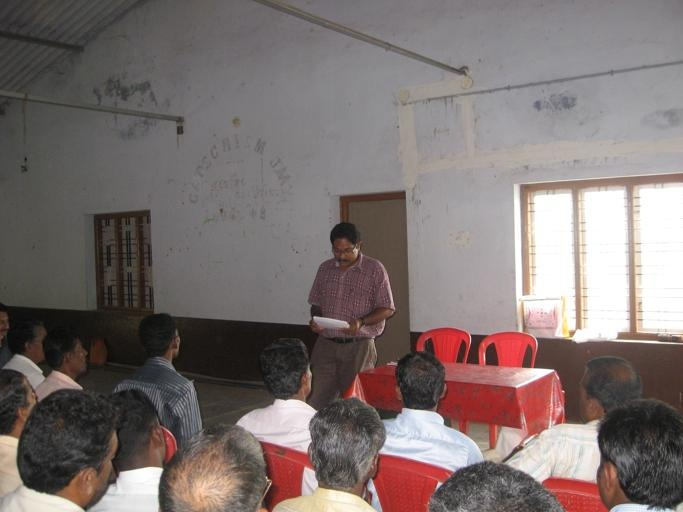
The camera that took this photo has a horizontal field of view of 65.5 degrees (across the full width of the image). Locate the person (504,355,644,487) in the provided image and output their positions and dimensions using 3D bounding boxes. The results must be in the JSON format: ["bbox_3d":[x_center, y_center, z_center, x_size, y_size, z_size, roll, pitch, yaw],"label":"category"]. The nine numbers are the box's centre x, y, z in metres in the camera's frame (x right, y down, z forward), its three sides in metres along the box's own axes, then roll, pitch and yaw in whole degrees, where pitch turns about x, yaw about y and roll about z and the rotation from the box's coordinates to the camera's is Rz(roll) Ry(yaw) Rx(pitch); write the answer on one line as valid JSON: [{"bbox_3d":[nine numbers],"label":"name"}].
[{"bbox_3d":[1.081,0.768,2.528,0.575,0.421,1.240,-15,-24,6],"label":"person"}]

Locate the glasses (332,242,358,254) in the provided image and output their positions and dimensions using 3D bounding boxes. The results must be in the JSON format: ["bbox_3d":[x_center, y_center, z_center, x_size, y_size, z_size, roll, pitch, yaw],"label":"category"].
[{"bbox_3d":[0.031,-0.055,4.184,0.106,0.054,0.143,2,-15,12],"label":"glasses"}]
